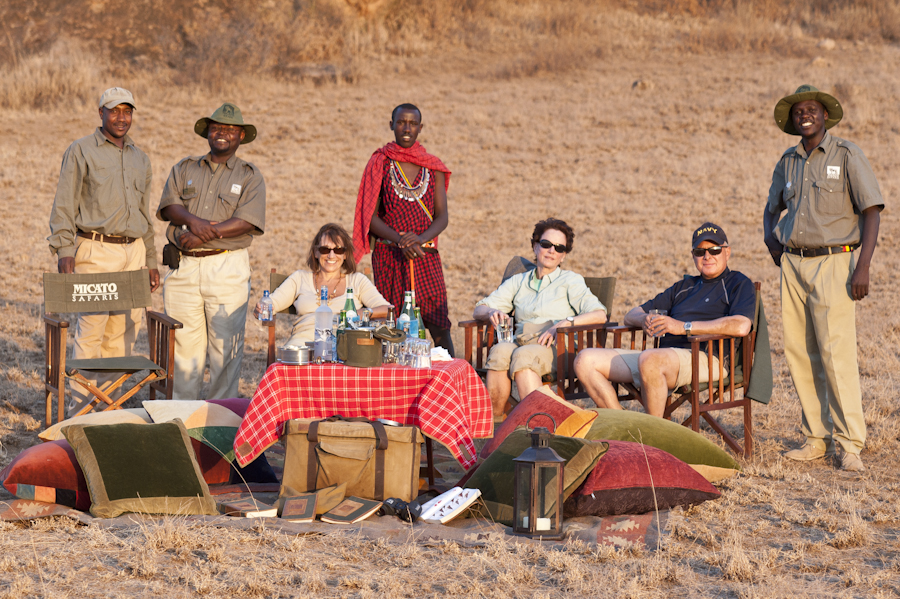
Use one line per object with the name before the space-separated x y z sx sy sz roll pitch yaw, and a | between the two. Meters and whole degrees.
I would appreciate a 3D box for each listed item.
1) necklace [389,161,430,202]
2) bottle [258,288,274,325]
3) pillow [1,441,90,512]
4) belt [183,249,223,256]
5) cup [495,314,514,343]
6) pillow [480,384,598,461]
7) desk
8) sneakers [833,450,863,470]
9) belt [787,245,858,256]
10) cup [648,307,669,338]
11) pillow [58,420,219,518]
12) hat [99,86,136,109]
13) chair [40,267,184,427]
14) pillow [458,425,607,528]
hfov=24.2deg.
necklace | -0.635 -2.000 34.093 0.673 0.624 0.122 1 3 -8
bottle | -2.872 0.052 32.903 0.236 0.541 0.309 1 3 -5
pillow | -6.120 2.564 32.058 0.973 0.599 1.049 11 2 -15
belt | -3.986 -0.816 33.863 0.621 0.114 0.088 1 3 -9
cup | 0.911 0.407 33.906 0.344 0.625 0.349 1 -2 0
pillow | 1.660 1.909 33.091 1.628 0.572 1.897 2 14 10
desk | -1.316 1.561 33.476 3.304 1.417 2.955 1 3 3
sneakers | 6.292 2.484 33.126 0.497 0.217 0.214 35 53 23
belt | 5.899 -0.850 33.192 1.100 0.225 0.234 2 3 0
cup | 3.327 0.309 33.373 0.336 0.421 0.334 -1 -5 0
pillow | -4.717 2.581 32.012 2.063 1.332 0.469 1 3 -8
hat | -5.351 -3.320 33.777 0.513 0.329 0.454 1 3 -21
chair | -5.377 1.031 33.117 1.843 2.909 1.786 -1 6 -21
pillow | 1.223 2.667 32.081 2.002 1.399 0.595 2 3 -1
